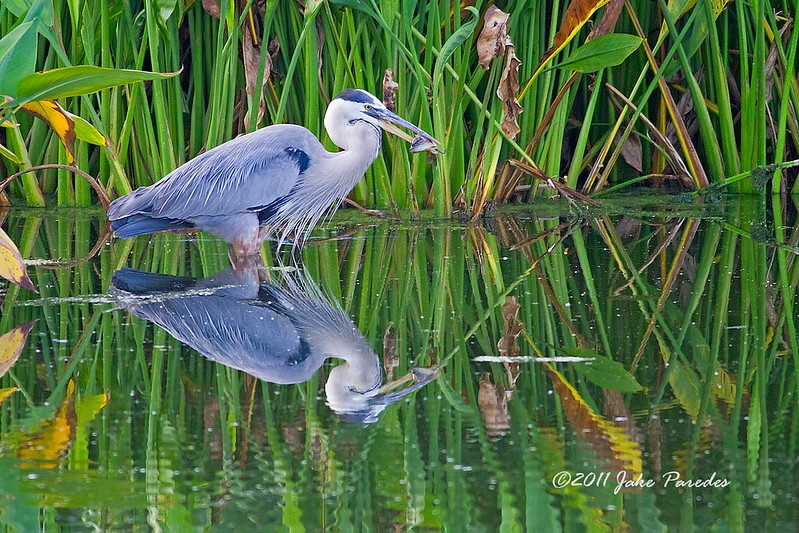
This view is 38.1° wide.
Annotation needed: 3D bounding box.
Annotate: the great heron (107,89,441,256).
[{"bbox_3d":[-0.517,-0.303,4.536,1.267,0.833,0.413,2,-10,9],"label":"great heron"}]
